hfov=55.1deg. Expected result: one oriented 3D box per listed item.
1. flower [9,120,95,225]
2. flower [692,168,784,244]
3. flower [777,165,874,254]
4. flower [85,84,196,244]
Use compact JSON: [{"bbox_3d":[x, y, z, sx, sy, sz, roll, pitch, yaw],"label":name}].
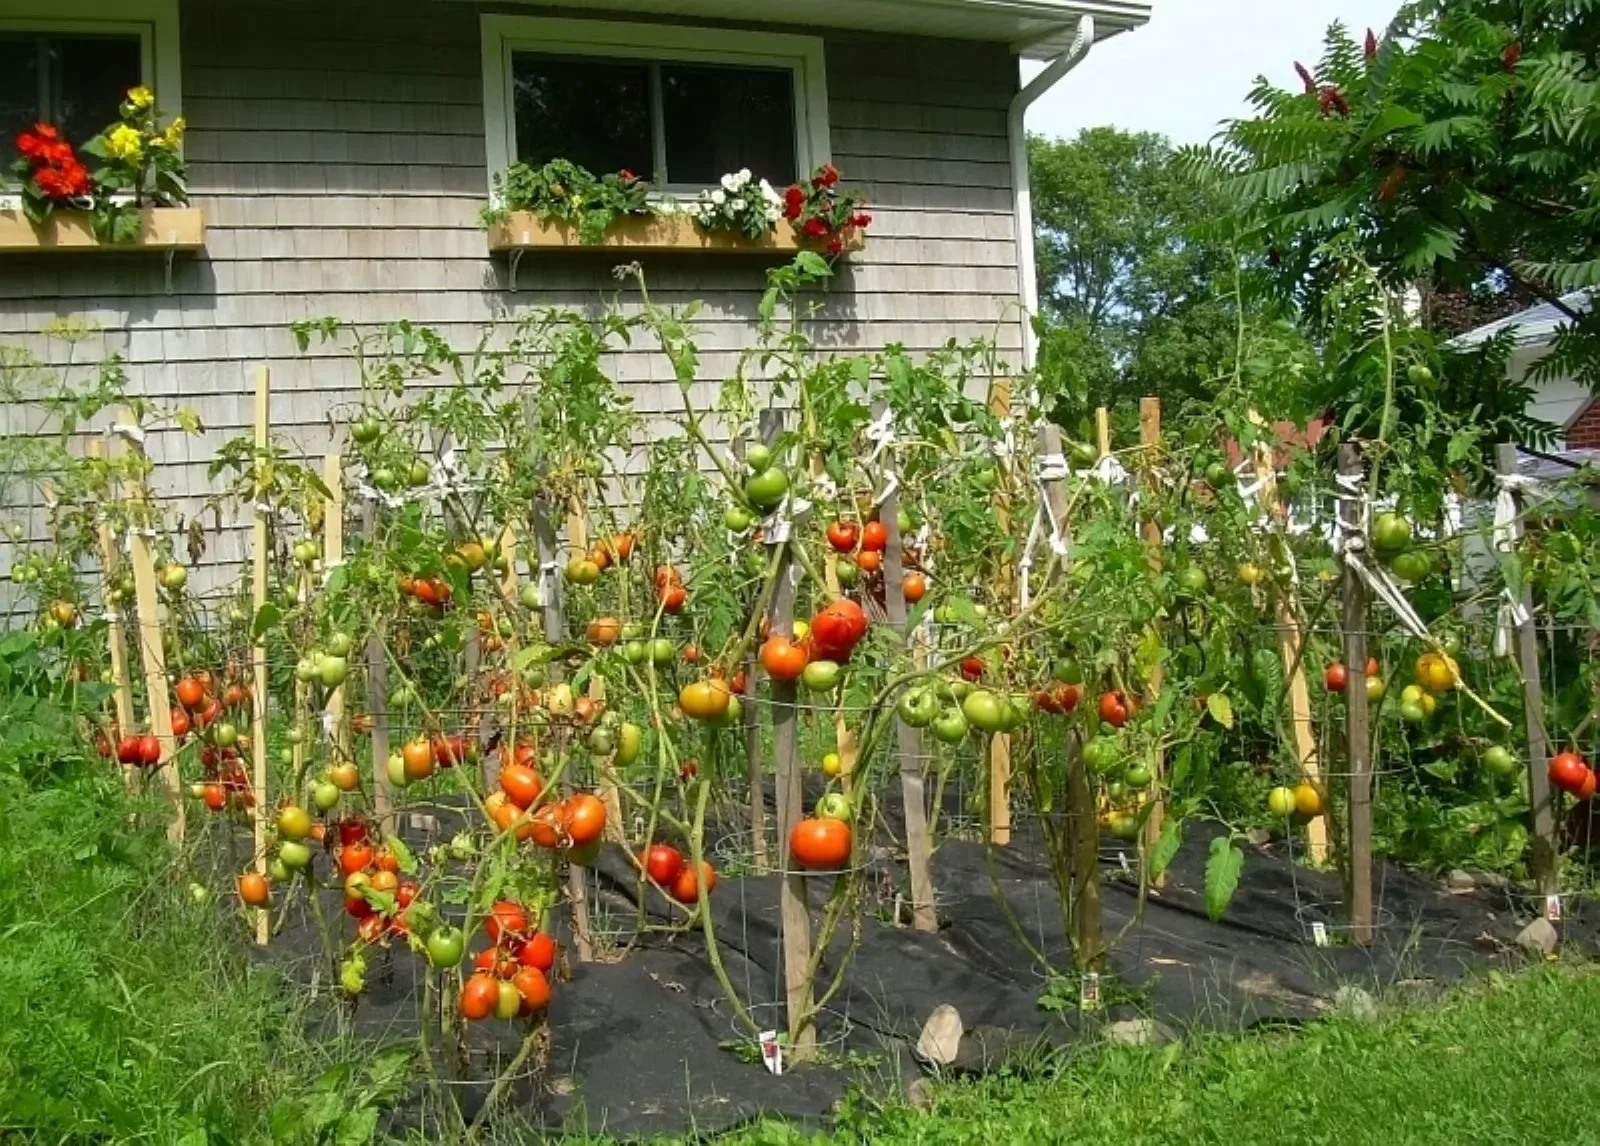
[{"bbox_3d":[-3.520,-1.889,7.311,0.368,0.476,0.240,0,3,-2],"label":"flower"},{"bbox_3d":[-0.354,-1.966,8.367,0.400,0.277,0.397,-34,50,-25],"label":"flower"},{"bbox_3d":[0.151,-2.027,8.614,0.635,0.547,0.275,-3,4,-33],"label":"flower"},{"bbox_3d":[-3.210,-1.962,7.475,0.434,0.773,0.520,-1,3,-5],"label":"flower"}]
